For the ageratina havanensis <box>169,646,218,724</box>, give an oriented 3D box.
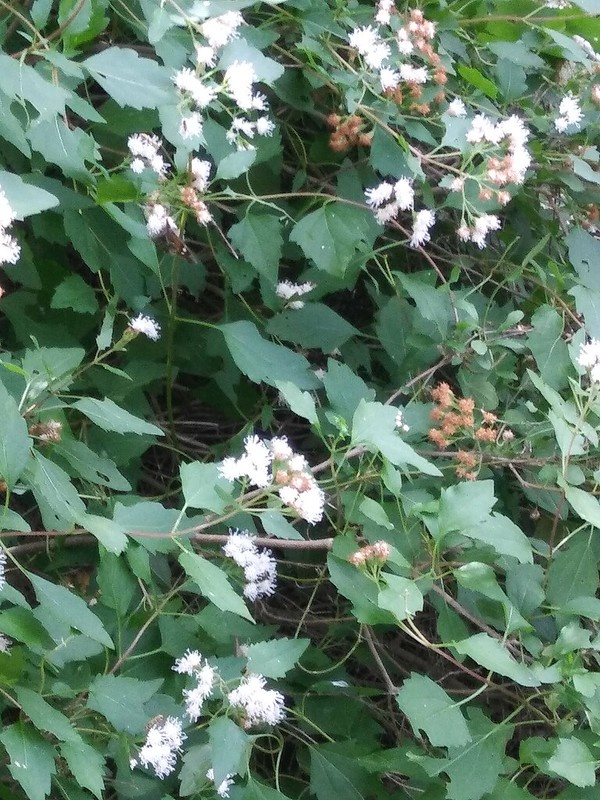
[{"bbox_3d":[-0.150,0.390,1.337,0.080,0.045,0.103,-12,38,4],"label":"ageratina havanensis"}]
